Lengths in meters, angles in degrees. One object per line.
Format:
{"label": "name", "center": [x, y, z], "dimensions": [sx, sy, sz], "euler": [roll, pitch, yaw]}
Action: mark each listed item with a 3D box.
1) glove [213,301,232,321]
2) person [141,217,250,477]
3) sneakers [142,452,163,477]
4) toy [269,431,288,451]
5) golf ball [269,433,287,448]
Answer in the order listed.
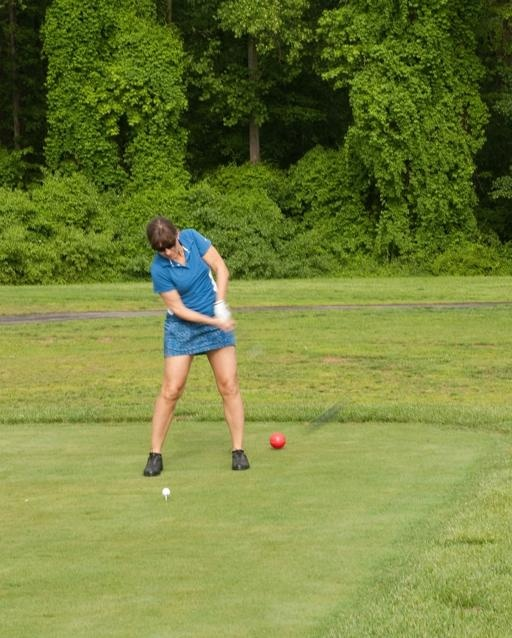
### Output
{"label": "glove", "center": [-0.212, -0.039, 8.697], "dimensions": [0.059, 0.182, 0.073], "euler": [-17, 21, -19]}
{"label": "person", "center": [-0.393, 0.165, 8.720], "dimensions": [0.768, 1.659, 0.506], "euler": [-1, 7, -17]}
{"label": "sneakers", "center": [-0.671, 0.963, 8.606], "dimensions": [0.100, 0.147, 0.307], "euler": [-1, -4, -2]}
{"label": "toy", "center": [0.164, 0.884, 9.475], "dimensions": [0.101, 0.112, 0.107], "euler": [-2, 40, 25]}
{"label": "golf ball", "center": [0.163, 0.881, 9.460], "dimensions": [0.096, 0.109, 0.100], "euler": [-8, 23, 3]}
